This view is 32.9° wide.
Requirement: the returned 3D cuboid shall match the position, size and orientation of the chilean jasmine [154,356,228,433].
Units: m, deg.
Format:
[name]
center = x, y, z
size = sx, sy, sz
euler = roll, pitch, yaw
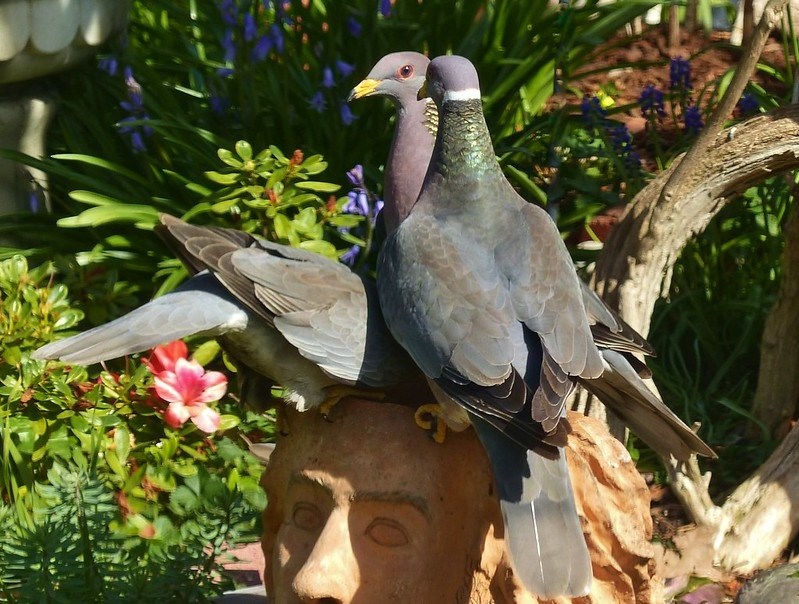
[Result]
[chilean jasmine]
center = -0.821, 0.426, 5.516
size = 0.279, 0.296, 0.119
euler = -40, 2, -33
